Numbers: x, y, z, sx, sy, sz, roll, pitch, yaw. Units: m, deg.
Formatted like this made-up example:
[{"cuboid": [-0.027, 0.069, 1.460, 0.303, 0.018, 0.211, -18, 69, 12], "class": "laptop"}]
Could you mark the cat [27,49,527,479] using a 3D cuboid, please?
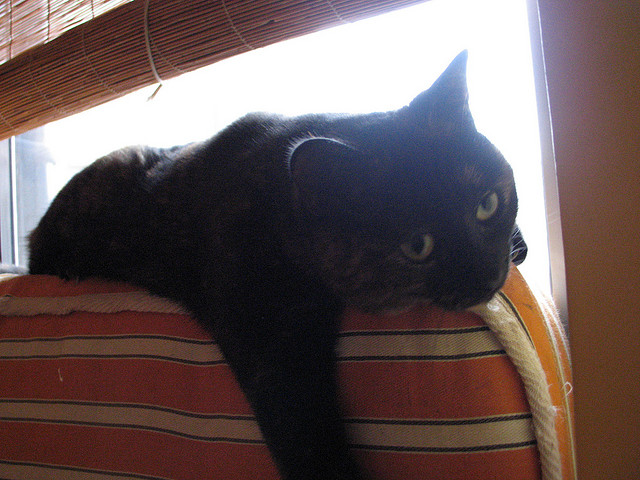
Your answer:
[{"cuboid": [-0.178, -0.014, 1.384, 1.249, 0.693, 0.423, 2, 12, 41], "class": "cat"}]
